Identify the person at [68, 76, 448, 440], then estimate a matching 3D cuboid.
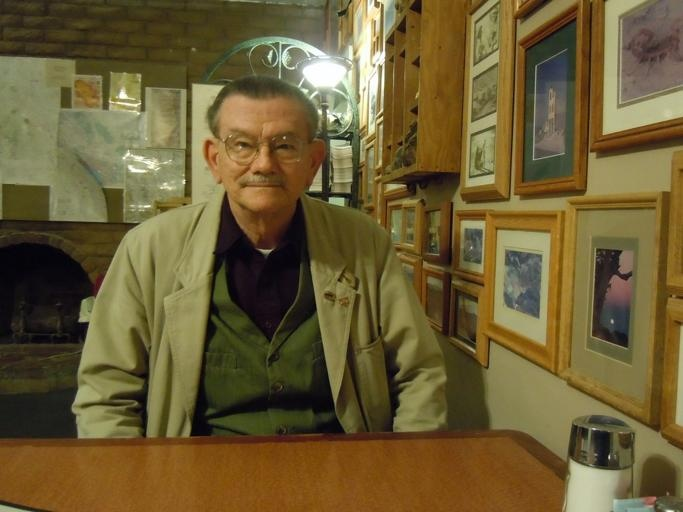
[{"bbox_3d":[-0.231,0.083,1.686,1.074,1.170,0.680,0,7,-5],"label":"person"}]
